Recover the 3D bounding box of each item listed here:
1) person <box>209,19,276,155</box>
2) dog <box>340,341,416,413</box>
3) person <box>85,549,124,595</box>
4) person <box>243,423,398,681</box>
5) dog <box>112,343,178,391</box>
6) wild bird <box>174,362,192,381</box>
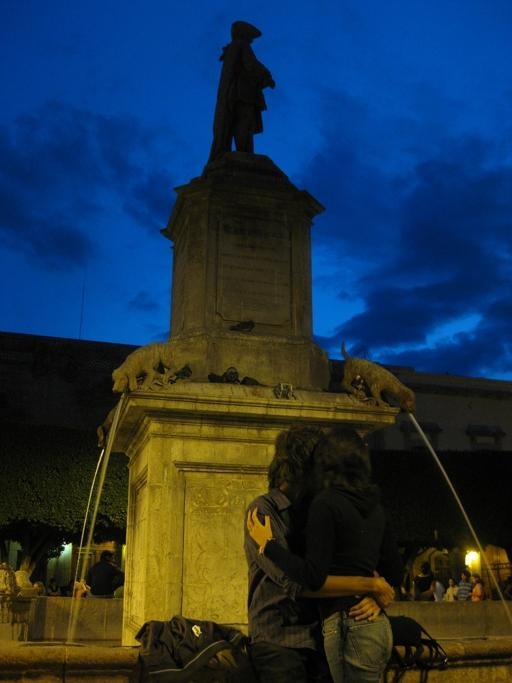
[{"bbox_3d":[-0.146,-3.120,13.545,0.688,1.732,0.891,11,-2,-9],"label":"person"},{"bbox_3d":[1.248,0.407,11.566,1.153,0.458,0.383,24,22,36],"label":"dog"},{"bbox_3d":[-2.214,3.455,16.080,0.501,0.674,1.713,10,-3,-5],"label":"person"},{"bbox_3d":[0.412,1.239,6.342,0.942,1.325,0.623,10,-2,6],"label":"person"},{"bbox_3d":[-1.054,0.254,10.461,0.535,0.492,0.425,11,-3,-26],"label":"dog"},{"bbox_3d":[-0.721,0.298,10.696,0.047,0.144,0.155,21,33,24],"label":"wild bird"}]
